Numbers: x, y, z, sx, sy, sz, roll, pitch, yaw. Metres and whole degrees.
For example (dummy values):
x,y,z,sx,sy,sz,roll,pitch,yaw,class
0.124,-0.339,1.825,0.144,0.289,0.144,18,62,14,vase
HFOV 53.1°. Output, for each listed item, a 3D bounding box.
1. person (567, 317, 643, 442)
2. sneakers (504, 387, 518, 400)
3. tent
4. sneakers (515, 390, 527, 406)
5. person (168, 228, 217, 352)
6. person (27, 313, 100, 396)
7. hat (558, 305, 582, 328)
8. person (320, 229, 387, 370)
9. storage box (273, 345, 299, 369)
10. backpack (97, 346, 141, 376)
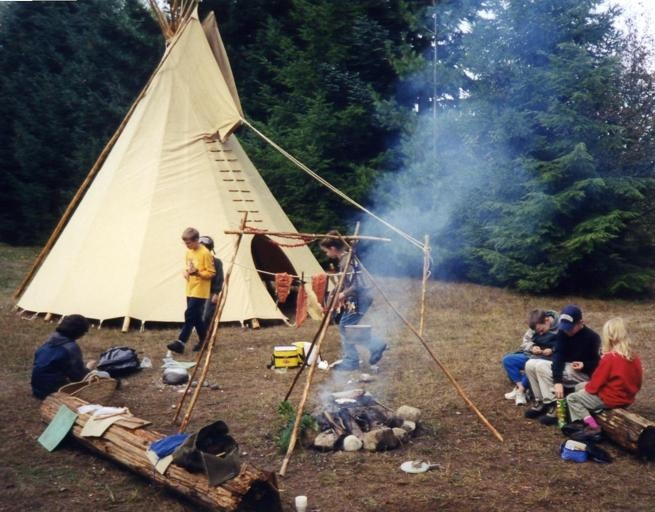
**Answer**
x,y,z,sx,sy,sz,roll,pitch,yaw,class
3.514,1.577,8.342,0.857,1.545,0.416,6,13,16,person
2.631,2.005,9.456,0.217,0.087,0.093,-1,-2,-18,sneakers
-3.116,-1.781,12.129,3.861,5.758,2.267,-7,15,-36,tent
2.735,2.019,9.284,0.149,0.188,0.162,5,12,16,sneakers
-2.164,0.592,10.641,0.712,2.091,0.957,1,12,-7,person
-3.666,1.500,9.232,0.660,1.267,0.900,18,9,37,person
3.217,0.776,8.700,0.213,0.174,0.336,9,39,47,hat
0.400,0.687,10.244,1.068,2.293,1.459,4,12,8,person
-0.626,1.627,10.544,0.377,0.219,0.358,1,11,1,storage box
-3.147,1.632,10.010,0.639,0.386,0.426,-2,12,-19,backpack
